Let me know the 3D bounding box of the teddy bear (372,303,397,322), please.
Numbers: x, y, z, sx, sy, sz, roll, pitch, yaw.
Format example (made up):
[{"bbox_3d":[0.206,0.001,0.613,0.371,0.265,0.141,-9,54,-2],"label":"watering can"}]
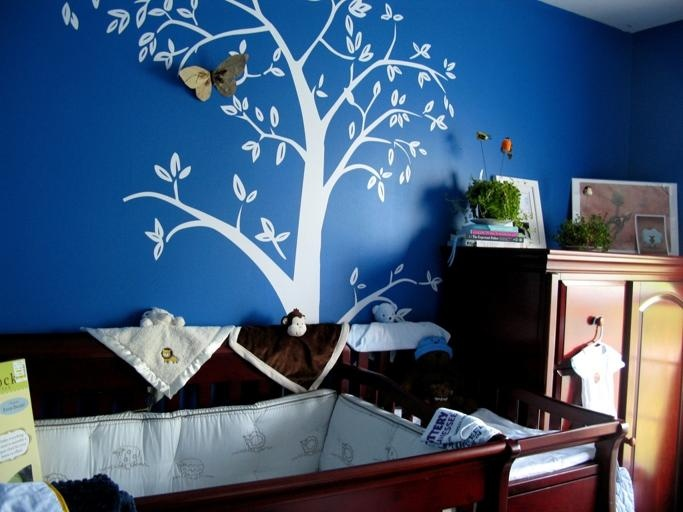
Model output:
[{"bbox_3d":[0.218,0.305,3.031,0.114,0.092,0.074,10,-14,-38],"label":"teddy bear"}]

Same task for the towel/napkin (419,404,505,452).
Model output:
[{"bbox_3d":[0.419,0.623,2.195,0.229,0.160,0.073,0,-11,44],"label":"towel/napkin"}]

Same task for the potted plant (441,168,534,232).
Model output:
[{"bbox_3d":[0.809,-0.257,3.239,0.389,0.325,0.295,4,-2,-28],"label":"potted plant"}]

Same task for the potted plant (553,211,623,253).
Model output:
[{"bbox_3d":[1.219,-0.103,3.116,0.215,0.169,0.182,-7,-16,39],"label":"potted plant"}]

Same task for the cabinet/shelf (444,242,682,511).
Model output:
[{"bbox_3d":[0.974,0.518,2.720,0.986,1.539,0.520,4,-7,-29],"label":"cabinet/shelf"}]
